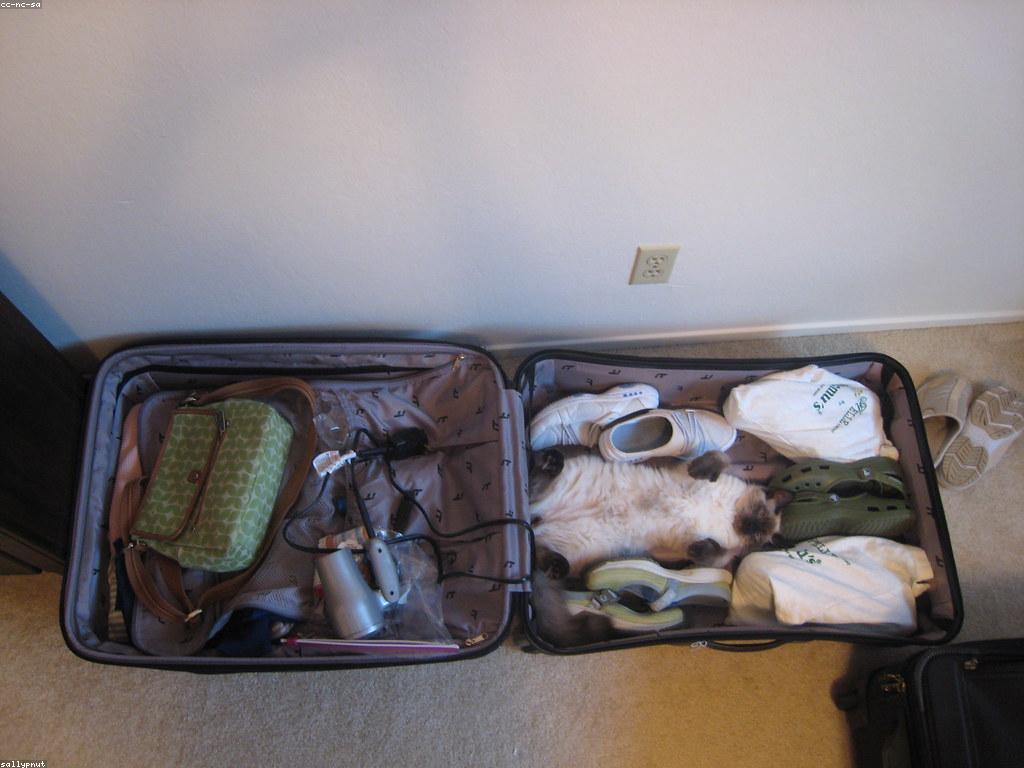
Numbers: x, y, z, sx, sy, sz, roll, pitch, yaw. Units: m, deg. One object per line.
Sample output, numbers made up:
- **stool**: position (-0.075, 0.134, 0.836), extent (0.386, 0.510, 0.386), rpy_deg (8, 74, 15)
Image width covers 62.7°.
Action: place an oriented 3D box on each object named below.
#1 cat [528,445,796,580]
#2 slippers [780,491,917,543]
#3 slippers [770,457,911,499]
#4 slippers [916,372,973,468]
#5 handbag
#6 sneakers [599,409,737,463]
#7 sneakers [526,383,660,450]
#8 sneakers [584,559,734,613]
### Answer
- **cat**: position (0.310, 0.298, 1.907), extent (0.595, 0.177, 0.251), rpy_deg (5, 77, 4)
- **slippers**: position (0.749, 0.301, 1.941), extent (0.312, 0.113, 0.110), rpy_deg (-6, 80, 4)
- **slippers**: position (0.756, 0.215, 1.950), extent (0.295, 0.119, 0.099), rpy_deg (-3, 95, 8)
- **slippers**: position (1.033, 0.069, 2.031), extent (0.120, 0.096, 0.257), rpy_deg (11, 85, 23)
- **handbag**: position (-0.608, 0.272, 1.907), extent (0.405, 0.163, 0.528), rpy_deg (8, 77, 14)
- **sneakers**: position (0.372, 0.125, 1.992), extent (0.319, 0.113, 0.130), rpy_deg (-5, 89, 2)
- **sneakers**: position (0.165, 0.072, 1.990), extent (0.347, 0.142, 0.122), rpy_deg (-13, 110, 4)
- **sneakers**: position (0.326, 0.446, 1.903), extent (0.324, 0.096, 0.122), rpy_deg (-1, 100, -1)
